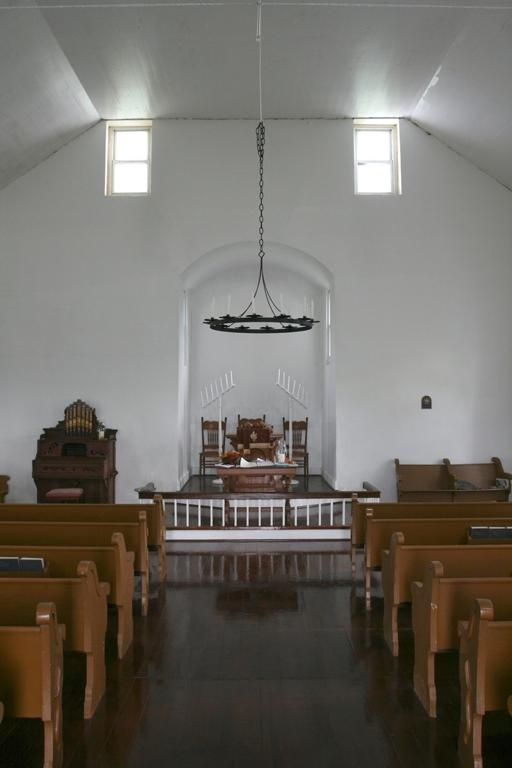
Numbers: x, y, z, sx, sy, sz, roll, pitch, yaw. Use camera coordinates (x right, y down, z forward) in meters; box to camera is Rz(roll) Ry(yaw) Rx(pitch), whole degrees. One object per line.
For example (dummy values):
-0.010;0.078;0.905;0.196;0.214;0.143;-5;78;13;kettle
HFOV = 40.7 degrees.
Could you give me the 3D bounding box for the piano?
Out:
-2.427;1.114;10.033;1.060;1.549;0.984;-1;-4;3;piano
